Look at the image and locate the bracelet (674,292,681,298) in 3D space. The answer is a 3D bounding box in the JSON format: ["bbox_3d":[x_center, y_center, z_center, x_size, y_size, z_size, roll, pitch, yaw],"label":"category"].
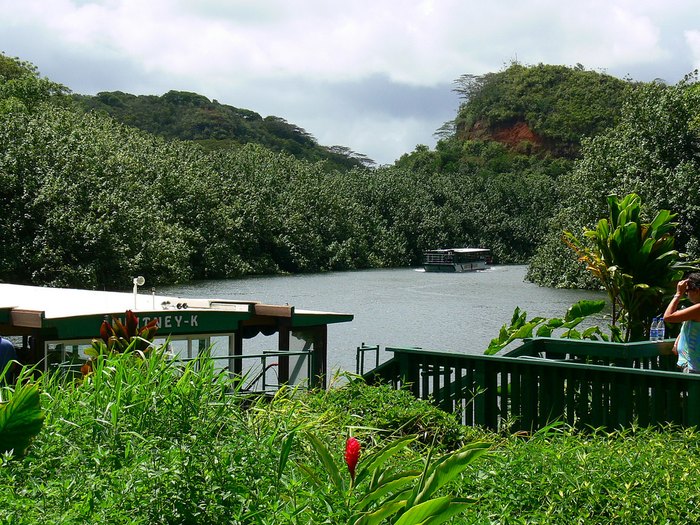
[{"bbox_3d":[3.712,0.381,10.311,0.021,0.050,0.065,34,-7,-12],"label":"bracelet"}]
